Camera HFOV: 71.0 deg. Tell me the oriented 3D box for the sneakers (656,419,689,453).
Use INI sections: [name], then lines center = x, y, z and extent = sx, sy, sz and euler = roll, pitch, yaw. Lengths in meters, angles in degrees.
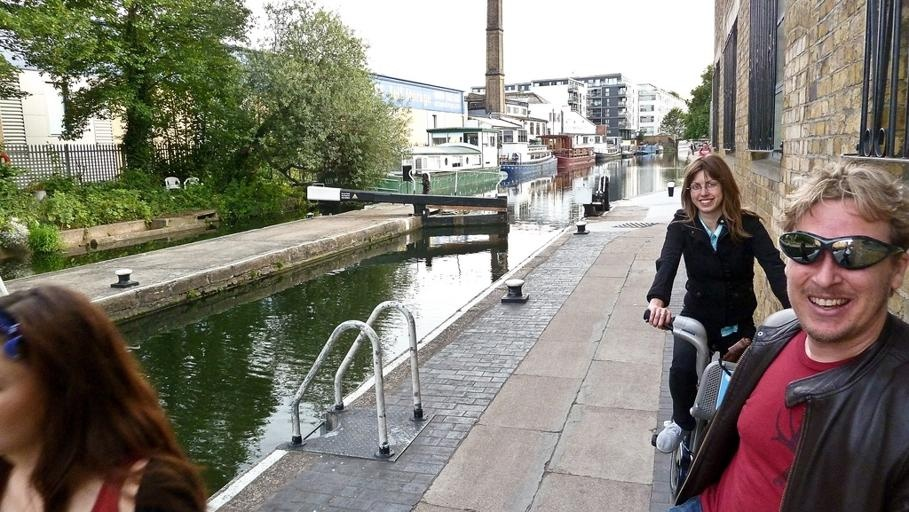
[sneakers]
center = 1.719, 1.442, 5.099
extent = 0.167, 0.183, 0.512
euler = 7, 0, 41
